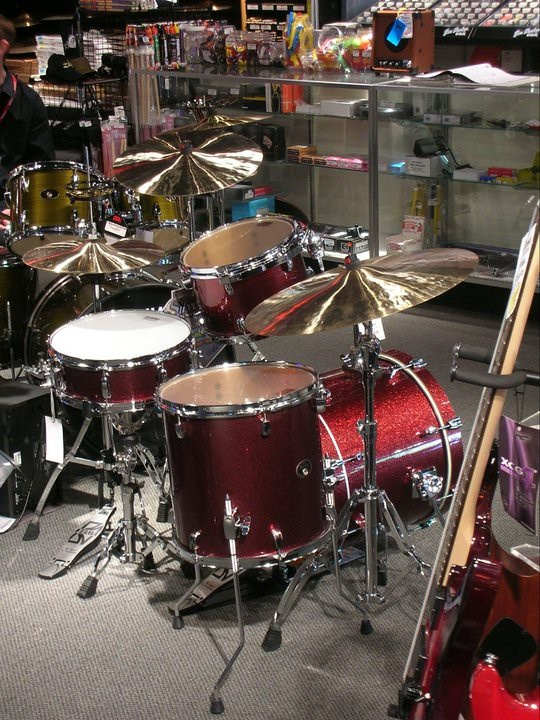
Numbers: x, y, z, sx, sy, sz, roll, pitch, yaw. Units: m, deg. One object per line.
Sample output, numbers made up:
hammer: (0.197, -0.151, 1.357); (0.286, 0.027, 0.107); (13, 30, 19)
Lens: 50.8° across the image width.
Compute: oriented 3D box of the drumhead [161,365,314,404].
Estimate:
drumhead: (-0.106, 0.073, 1.673); (0.211, 0.051, 0.208); (-13, 3, -27)
